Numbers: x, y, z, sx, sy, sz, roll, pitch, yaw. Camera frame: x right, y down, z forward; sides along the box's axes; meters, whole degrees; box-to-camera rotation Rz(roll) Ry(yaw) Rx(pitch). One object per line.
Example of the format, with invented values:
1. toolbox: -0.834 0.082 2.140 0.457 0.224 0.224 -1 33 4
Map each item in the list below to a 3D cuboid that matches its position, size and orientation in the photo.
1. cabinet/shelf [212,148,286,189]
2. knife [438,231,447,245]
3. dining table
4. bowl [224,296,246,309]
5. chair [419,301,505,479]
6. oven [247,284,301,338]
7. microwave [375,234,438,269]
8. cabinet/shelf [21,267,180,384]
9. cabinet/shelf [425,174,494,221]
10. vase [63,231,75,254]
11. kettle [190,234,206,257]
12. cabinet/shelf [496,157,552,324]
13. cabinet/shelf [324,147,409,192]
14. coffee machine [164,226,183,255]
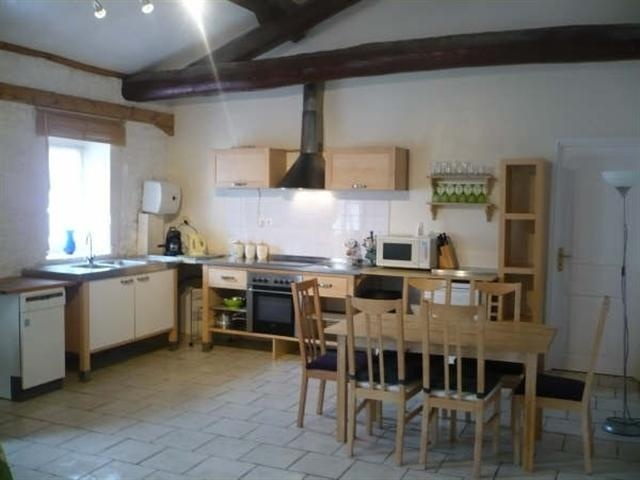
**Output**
1. cabinet/shelf: -0.835 -0.945 6.983 0.968 0.507 0.729 5 8 37
2. knife: 1.432 -0.020 6.019 0.091 0.048 0.144 2 46 2
3. dining table: 1.324 0.859 4.270 1.609 0.777 1.186 2 5 23
4. bowl: -1.071 0.812 6.714 0.185 0.078 0.179 0 2 0
5. chair: 1.125 1.066 4.093 0.595 1.339 0.828 3 9 18
6. oven: -0.480 0.845 6.452 0.731 0.619 0.510 3 8 23
7. microwave: 0.954 0.137 5.893 0.606 0.343 0.170 1 8 8
8. cabinet/shelf: -2.599 0.698 6.194 1.094 1.315 1.983 1 3 23
9. cabinet/shelf: 1.673 -0.563 6.118 0.950 0.615 0.493 2 8 16
10. vase: -3.037 0.027 6.298 0.134 0.306 0.196 -4 9 -26
11. kettle: -1.678 0.090 7.128 0.297 0.402 0.147 1 -15 -21
12. cabinet/shelf: 2.259 -0.250 5.821 0.374 1.446 0.276 3 -31 19
13. cabinet/shelf: 0.541 -0.838 6.060 0.966 0.511 0.539 2 7 18
14. coffee machine: -1.997 0.042 7.107 0.309 0.489 0.363 0 5 -12
